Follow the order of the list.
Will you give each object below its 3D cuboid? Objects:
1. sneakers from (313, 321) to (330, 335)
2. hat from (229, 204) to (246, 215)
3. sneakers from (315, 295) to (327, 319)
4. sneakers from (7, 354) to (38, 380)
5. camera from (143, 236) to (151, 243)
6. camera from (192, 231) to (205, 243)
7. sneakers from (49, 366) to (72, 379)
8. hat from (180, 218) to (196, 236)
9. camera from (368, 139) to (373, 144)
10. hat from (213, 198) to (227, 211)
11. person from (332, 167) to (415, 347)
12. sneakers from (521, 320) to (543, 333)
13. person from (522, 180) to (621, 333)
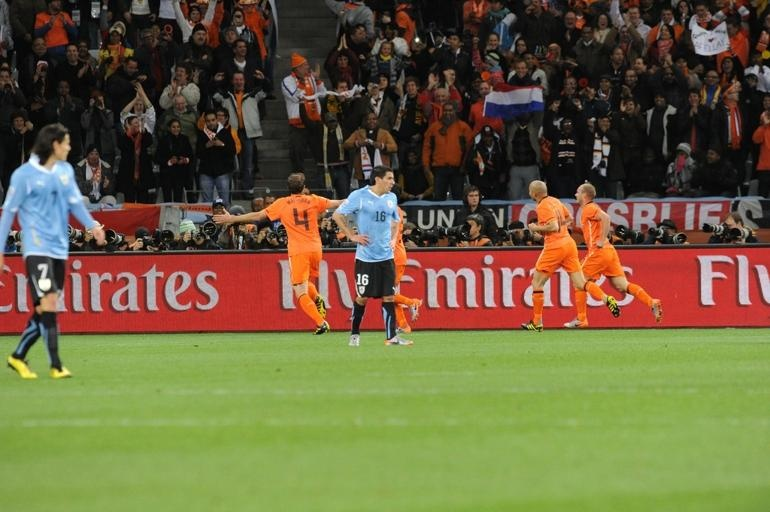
[{"bbox_3d":[-1.121,1.319,24.789,0.187,0.228,0.509,2,-3,-8],"label":"sneakers"},{"bbox_3d":[-2.831,-0.923,26.308,0.264,0.213,0.381,2,-7,-8],"label":"hat"},{"bbox_3d":[-1.227,0.972,25.418,0.134,0.418,0.247,-5,17,36],"label":"sneakers"},{"bbox_3d":[-5.552,1.720,20.876,0.499,0.224,0.271,39,15,-15],"label":"sneakers"},{"bbox_3d":[-4.722,-0.335,27.320,0.068,0.071,0.186,-1,-10,-25],"label":"camera"},{"bbox_3d":[-3.711,-0.388,27.433,0.217,0.215,0.058,39,4,-25],"label":"camera"},{"bbox_3d":[-4.907,1.797,20.821,0.282,0.126,0.149,-1,6,-24],"label":"sneakers"},{"bbox_3d":[-3.967,-0.586,27.722,0.398,0.374,0.279,-3,7,-5],"label":"hat"},{"bbox_3d":[-0.291,-2.518,29.787,0.132,0.117,0.039,-2,3,-5],"label":"camera"},{"bbox_3d":[-3.211,-0.993,26.665,0.233,0.311,0.318,-5,11,-6],"label":"hat"},{"bbox_3d":[-0.149,0.005,23.662,1.122,3.146,0.707,-1,3,0],"label":"person"},{"bbox_3d":[2.751,1.340,25.919,0.481,0.206,0.190,8,14,38],"label":"sneakers"},{"bbox_3d":[3.322,0.007,25.616,1.459,2.867,1.064,-2,3,-3],"label":"person"}]
